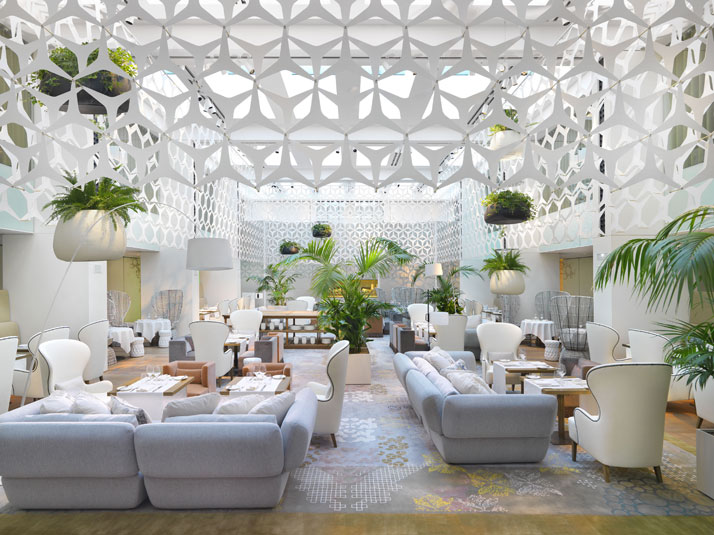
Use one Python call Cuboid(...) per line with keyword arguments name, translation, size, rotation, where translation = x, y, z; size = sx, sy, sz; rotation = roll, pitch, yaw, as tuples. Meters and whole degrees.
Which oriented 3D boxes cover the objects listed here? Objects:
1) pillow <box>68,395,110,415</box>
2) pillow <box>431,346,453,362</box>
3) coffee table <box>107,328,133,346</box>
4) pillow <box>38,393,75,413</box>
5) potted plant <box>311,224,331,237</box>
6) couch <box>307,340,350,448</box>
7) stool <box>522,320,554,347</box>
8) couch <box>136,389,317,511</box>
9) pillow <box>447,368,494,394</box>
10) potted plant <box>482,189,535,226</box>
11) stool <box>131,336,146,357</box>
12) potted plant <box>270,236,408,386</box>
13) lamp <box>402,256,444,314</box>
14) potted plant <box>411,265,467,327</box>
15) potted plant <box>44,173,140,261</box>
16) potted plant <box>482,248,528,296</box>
Cuboid(name="pillow", translation=(-2.595, 1.355, 4.948), size=(0.231, 0.078, 0.232), rotation=(21, -4, -4))
Cuboid(name="pillow", translation=(1.211, 1.221, 7.073), size=(0.184, 0.083, 0.270), rotation=(25, -8, 15))
Cuboid(name="coffee table", translation=(-4.794, 1.382, 10.214), size=(0.342, 0.204, 0.365), rotation=(0, 2, -10))
Cuboid(name="pillow", translation=(-2.934, 1.345, 4.959), size=(0.177, 0.063, 0.194), rotation=(5, 4, 3))
Cuboid(name="potted plant", translation=(-1.081, -1.194, 15.389), size=(0.424, 0.360, 0.430), rotation=(15, -17, -31))
Cuboid(name="couch", translation=(-0.446, 1.550, 6.208), size=(0.689, 1.204, 0.788), rotation=(1, 1, -10))
Cuboid(name="stool", translation=(4.005, 1.330, 10.998), size=(0.707, 0.499, 0.749), rotation=(0, -5, 30))
Cuboid(name="couch", translation=(-1.269, 1.594, 5.408), size=(1.681, 1.008, 1.932), rotation=(1, 15, 2))
Cuboid(name="pillow", translation=(1.324, 1.347, 5.748), size=(0.295, 0.098, 0.308), rotation=(25, -1, -26))
Cuboid(name="potted plant", translation=(2.147, -0.891, 7.028), size=(0.627, 0.473, 0.675), rotation=(1, 8, -7))
Cuboid(name="stool", translation=(-4.746, 1.729, 10.939), size=(0.333, 0.465, 0.349), rotation=(2, -8, -5))
Cuboid(name="potted plant", translation=(0.136, 0.811, 8.835), size=(1.981, 2.733, 2.537), rotation=(1, 0, -4))
Cuboid(name="lamp", translation=(1.971, 0.479, 15.132), size=(1.437, 1.725, 0.974), rotation=(2, 0, 18))
Cuboid(name="potted plant", translation=(1.945, 0.579, 11.277), size=(1.053, 1.381, 1.287), rotation=(6, 9, 36))
Cuboid(name="potted plant", translation=(-2.921, -0.418, 5.473), size=(0.942, 1.012, 1.001), rotation=(3, -4, -11))
Cuboid(name="potted plant", translation=(2.504, 0.063, 8.363), size=(0.665, 0.775, 0.753), rotation=(3, -3, 11))
